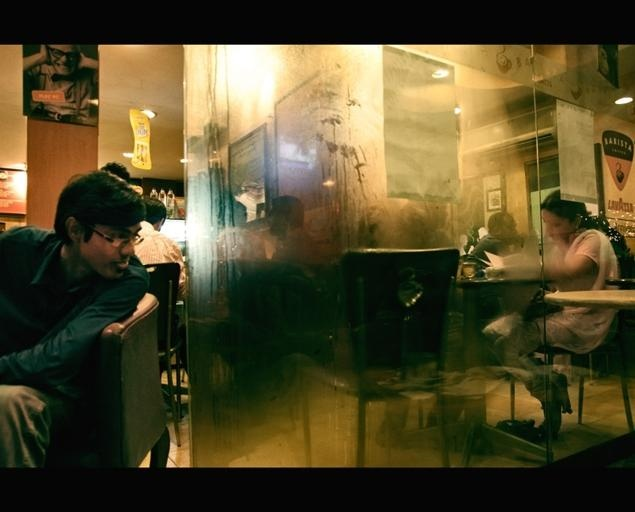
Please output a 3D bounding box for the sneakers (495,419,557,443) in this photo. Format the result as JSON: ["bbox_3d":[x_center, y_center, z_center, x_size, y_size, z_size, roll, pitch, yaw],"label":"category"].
[{"bbox_3d":[0.908,0.763,2.501,0.308,0.110,0.110,2,7,-2],"label":"sneakers"}]

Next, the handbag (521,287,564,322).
[{"bbox_3d":[1.048,0.221,2.619,0.166,0.040,0.166,7,-38,-32],"label":"handbag"}]
